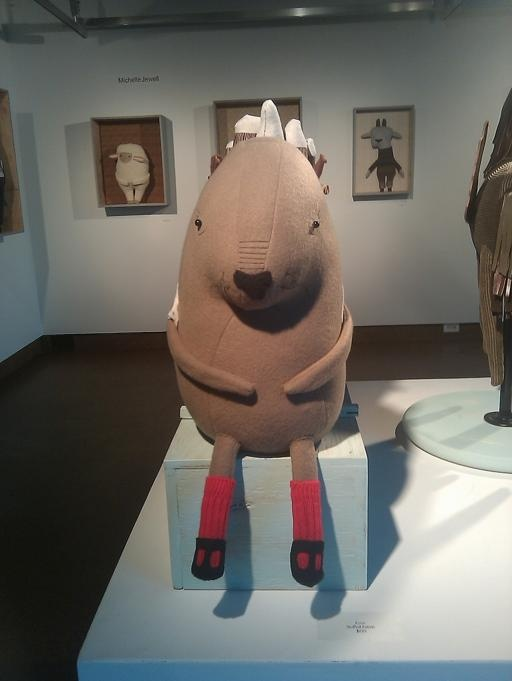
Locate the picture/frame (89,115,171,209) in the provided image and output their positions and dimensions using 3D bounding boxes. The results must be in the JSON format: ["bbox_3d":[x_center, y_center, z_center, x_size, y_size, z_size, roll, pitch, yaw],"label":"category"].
[{"bbox_3d":[-0.880,-1.288,3.692,0.484,0.715,0.210,0,9,1],"label":"picture/frame"}]

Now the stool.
[{"bbox_3d":[0.052,0.341,1.363,0.444,0.341,0.457,-2,18,8],"label":"stool"}]

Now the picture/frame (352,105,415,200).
[{"bbox_3d":[0.877,-1.317,3.577,0.444,0.753,0.028,-1,10,-3],"label":"picture/frame"}]
